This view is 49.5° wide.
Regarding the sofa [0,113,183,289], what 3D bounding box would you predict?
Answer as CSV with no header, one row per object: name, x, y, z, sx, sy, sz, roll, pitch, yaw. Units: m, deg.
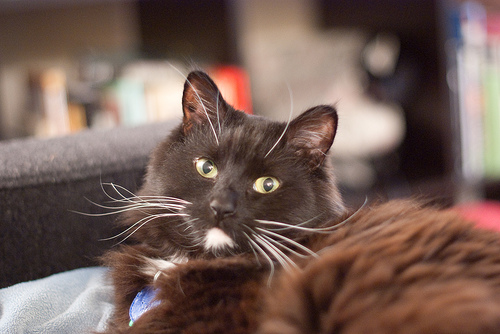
sofa,-0.839,0.171,2.947,1.213,0.910,0.697,-2,6,-18
